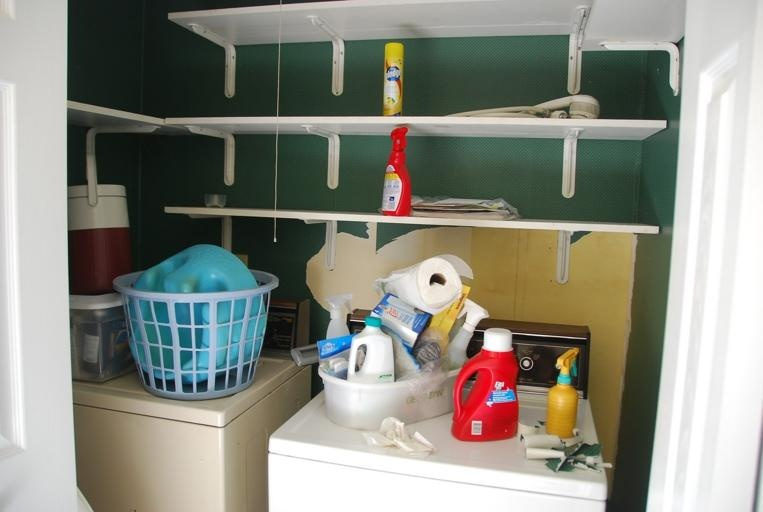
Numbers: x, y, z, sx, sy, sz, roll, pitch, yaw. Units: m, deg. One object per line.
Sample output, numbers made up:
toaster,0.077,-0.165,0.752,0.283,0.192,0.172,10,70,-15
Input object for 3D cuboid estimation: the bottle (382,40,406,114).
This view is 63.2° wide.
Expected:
bottle,0.048,-0.594,2.115,0.071,0.246,0.067,1,5,0

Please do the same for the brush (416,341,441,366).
brush,0.143,0.301,1.902,0.055,0.076,0.025,12,-25,6

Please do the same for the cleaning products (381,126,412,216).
cleaning products,0.054,-0.284,2.115,0.099,0.305,0.111,2,5,4

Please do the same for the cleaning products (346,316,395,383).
cleaning products,-0.029,0.289,1.862,0.178,0.259,0.093,-1,10,-4

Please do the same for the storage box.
storage box,-0.920,0.236,2.067,0.249,0.319,0.286,-2,3,-37

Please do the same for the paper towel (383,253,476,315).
paper towel,0.123,0.089,1.948,0.254,0.172,0.160,2,5,11
